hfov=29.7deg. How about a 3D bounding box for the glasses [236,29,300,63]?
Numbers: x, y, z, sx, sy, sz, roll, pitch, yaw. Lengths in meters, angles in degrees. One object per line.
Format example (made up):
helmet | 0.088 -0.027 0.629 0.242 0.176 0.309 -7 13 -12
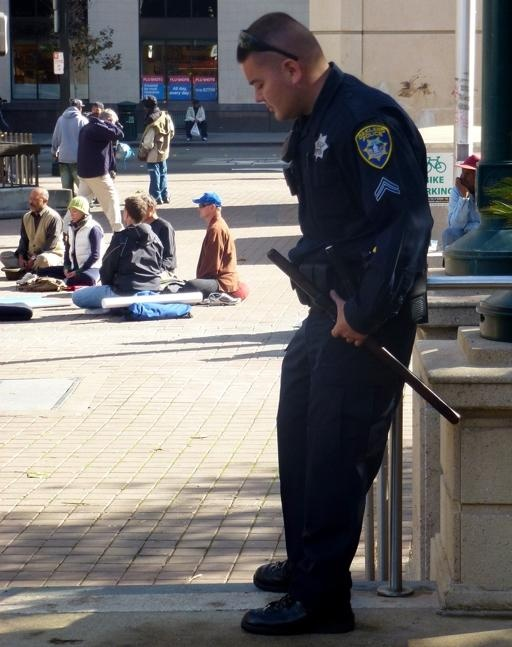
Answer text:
glasses | 0.029 -0.785 2.755 0.150 0.039 0.107 6 4 1

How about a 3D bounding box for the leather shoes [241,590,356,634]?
leather shoes | 0.126 0.859 2.870 0.365 0.112 0.114 3 -1 -2

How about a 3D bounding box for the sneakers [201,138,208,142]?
sneakers | -2.011 -7.163 37.732 0.216 0.183 0.502 0 10 -3

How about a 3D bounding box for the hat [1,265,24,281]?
hat | -3.046 -0.626 12.198 0.277 0.110 0.234 0 -4 -3

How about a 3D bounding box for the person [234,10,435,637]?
person | 0.233 0.016 2.820 0.545 1.818 0.549 -1 15 2

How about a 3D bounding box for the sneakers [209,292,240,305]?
sneakers | -0.320 -0.261 10.556 0.371 0.124 0.112 -2 19 -5
